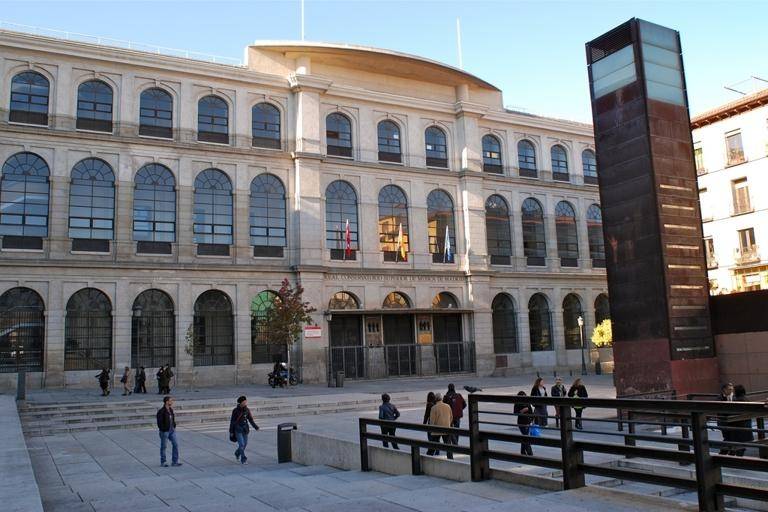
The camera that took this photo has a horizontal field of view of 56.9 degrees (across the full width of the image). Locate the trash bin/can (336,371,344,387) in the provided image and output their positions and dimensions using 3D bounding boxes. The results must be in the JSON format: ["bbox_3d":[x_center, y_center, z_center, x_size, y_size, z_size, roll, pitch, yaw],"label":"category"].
[{"bbox_3d":[-2.738,7.696,44.017,0.494,0.863,0.903,0,-8,-9],"label":"trash bin/can"}]

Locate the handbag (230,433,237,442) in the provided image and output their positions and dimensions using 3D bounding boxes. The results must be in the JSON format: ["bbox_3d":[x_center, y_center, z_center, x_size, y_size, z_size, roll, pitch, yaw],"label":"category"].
[{"bbox_3d":[-5.135,6.200,24.111,0.309,0.216,0.243,-1,-1,-33],"label":"handbag"}]

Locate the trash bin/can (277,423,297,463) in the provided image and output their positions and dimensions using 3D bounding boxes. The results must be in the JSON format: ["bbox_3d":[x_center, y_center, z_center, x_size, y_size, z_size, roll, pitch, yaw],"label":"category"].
[{"bbox_3d":[-3.310,6.400,24.159,0.660,1.276,0.332,-2,-8,5],"label":"trash bin/can"}]

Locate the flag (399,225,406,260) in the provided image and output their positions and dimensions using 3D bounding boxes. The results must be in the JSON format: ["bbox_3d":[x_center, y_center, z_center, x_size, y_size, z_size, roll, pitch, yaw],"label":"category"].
[{"bbox_3d":[1.332,-0.958,52.300,0.577,2.677,0.275,5,-11,-39],"label":"flag"}]
